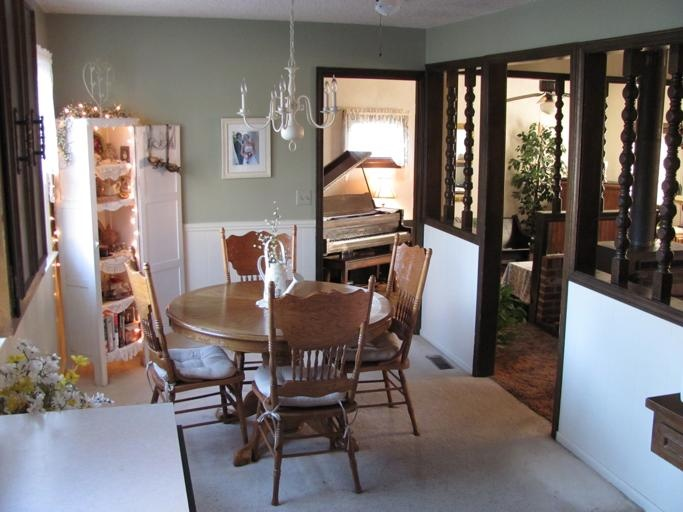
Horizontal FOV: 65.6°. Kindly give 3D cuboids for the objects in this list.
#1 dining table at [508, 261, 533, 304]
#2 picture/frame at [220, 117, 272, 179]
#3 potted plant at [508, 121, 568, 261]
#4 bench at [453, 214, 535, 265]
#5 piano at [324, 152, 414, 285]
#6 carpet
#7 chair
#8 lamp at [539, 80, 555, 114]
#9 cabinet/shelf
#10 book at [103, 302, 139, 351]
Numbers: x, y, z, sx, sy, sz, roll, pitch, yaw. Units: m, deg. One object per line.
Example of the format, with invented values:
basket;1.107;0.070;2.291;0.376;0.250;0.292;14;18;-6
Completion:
dining table;2.147;0.309;6.254;0.257;0.401;0.601;-1;14;-5
picture/frame;-0.947;-1.054;5.126;0.526;0.656;0.028;-1;8;-16
potted plant;3.001;-1.191;8.136;0.717;1.601;0.734;-6;15;-24
bench;2.111;-0.112;7.470;0.788;1.253;0.860;-1;6;1
piano;0.098;-0.491;7.018;1.233;1.748;1.520;-10;14;-26
carpet;1.765;0.889;4.869;0.066;0.994;1.023;13;-7;-18
chair;-0.035;0.660;3.744;1.469;1.154;1.590;-1;11;-5
lamp;2.594;-2.003;6.637;0.217;0.366;0.176;4;22;24
cabinet/shelf;-1.901;-0.205;4.640;0.541;2.014;0.752;20;23;36
book;-1.910;0.597;4.594;0.295;0.314;0.334;-3;13;3
